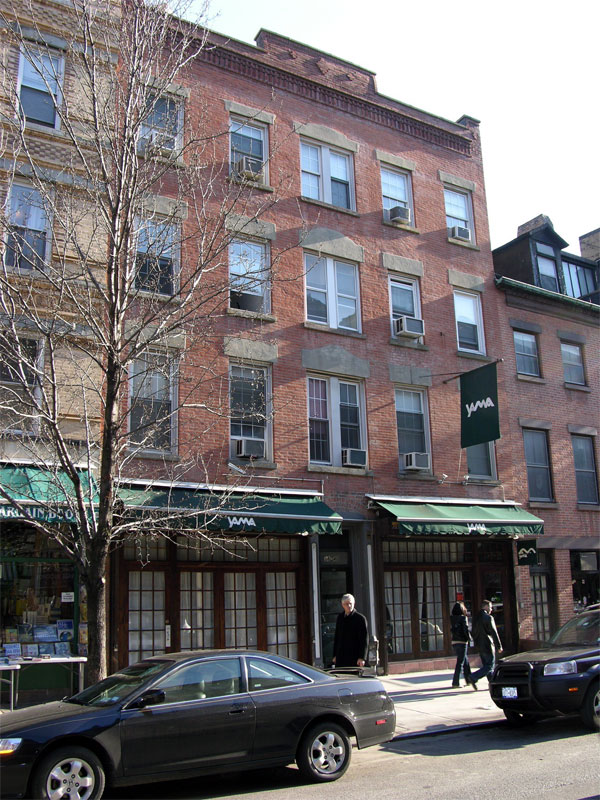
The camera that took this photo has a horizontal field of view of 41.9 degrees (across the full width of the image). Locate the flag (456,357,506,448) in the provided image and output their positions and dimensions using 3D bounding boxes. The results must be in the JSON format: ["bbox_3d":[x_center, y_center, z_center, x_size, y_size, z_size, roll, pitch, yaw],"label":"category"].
[{"bbox_3d":[4.109,0.107,18.054,0.267,2.178,1.884,14,-23,-26],"label":"flag"}]

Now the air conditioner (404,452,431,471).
[{"bbox_3d":[2.604,1.388,17.669,0.517,0.358,0.699,8,-9,-40],"label":"air conditioner"}]

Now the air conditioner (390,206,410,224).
[{"bbox_3d":[2.456,-4.553,19.170,0.489,0.473,0.293,7,-20,-32],"label":"air conditioner"}]
